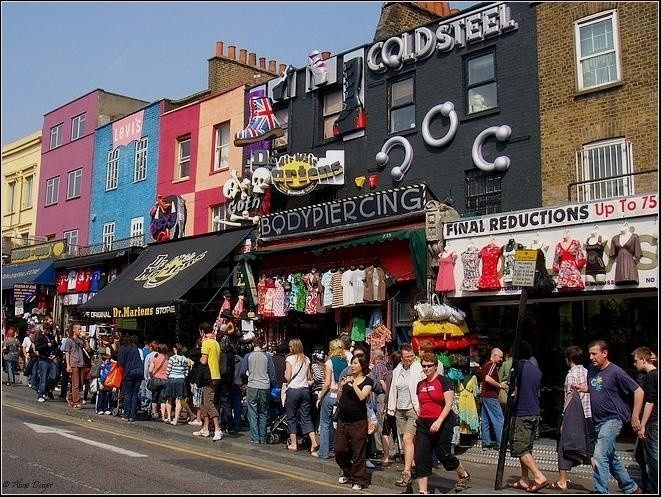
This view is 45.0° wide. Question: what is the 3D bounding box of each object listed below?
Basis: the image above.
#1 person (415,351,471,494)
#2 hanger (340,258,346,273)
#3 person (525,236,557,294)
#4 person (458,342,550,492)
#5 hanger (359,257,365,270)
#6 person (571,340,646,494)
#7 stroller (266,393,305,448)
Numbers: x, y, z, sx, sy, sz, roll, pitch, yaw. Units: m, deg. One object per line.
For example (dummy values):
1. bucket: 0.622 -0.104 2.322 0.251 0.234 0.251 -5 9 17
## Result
1. person: 2.085 3.286 15.240 0.855 2.575 1.000 -4 -6 41
2. hanger: 0.329 0.481 23.027 0.182 0.272 0.093 0 -11 29
3. person: 4.844 0.518 18.555 0.554 1.586 0.695 3 -3 -29
4. person: 3.807 3.285 15.823 0.926 2.800 1.109 2 -4 -28
5. hanger: 0.864 0.411 22.613 0.203 0.326 0.277 0 -8 -4
6. person: 5.277 3.020 15.129 0.982 2.900 1.047 3 -5 -29
7. stroller: -1.120 4.142 19.071 0.713 1.026 0.760 3 -2 -26
